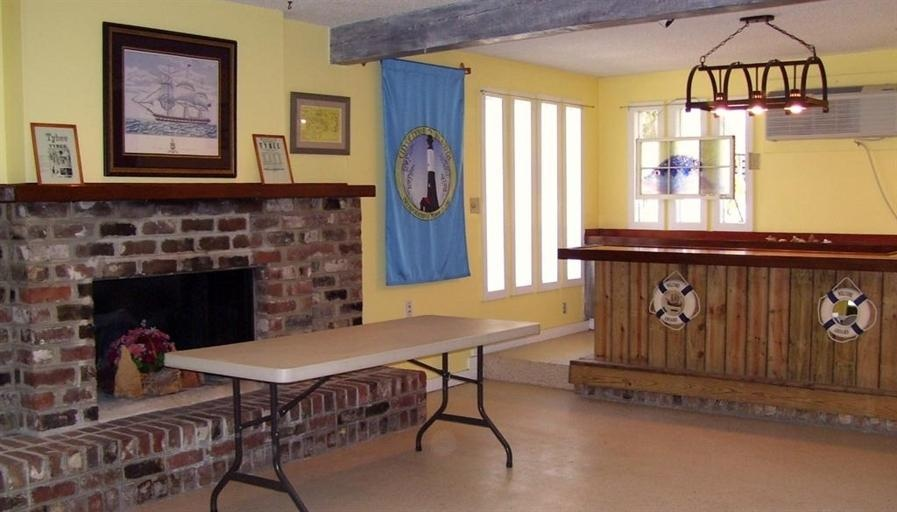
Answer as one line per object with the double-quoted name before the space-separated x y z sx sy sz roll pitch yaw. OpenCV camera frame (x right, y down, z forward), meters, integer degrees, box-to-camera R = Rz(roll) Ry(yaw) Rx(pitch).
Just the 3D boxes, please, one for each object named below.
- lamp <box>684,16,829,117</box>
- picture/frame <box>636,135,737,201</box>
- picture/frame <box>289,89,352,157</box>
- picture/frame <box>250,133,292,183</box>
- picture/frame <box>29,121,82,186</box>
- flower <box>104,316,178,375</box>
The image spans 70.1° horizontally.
"lamp" 3.444 -2.113 7.026 1.438 0.910 0.932 3 6 41
"picture/frame" 3.271 -1.224 8.839 1.598 0.875 0.098 -3 6 -15
"picture/frame" -1.272 -1.313 6.420 0.807 0.589 0.068 11 16 29
"picture/frame" -1.632 -0.885 5.808 0.465 0.531 0.045 -15 0 -42
"picture/frame" -2.952 -0.772 4.820 0.299 0.445 0.185 -7 14 -30
"flower" -2.602 0.723 5.460 0.469 0.385 0.419 0 5 -34
